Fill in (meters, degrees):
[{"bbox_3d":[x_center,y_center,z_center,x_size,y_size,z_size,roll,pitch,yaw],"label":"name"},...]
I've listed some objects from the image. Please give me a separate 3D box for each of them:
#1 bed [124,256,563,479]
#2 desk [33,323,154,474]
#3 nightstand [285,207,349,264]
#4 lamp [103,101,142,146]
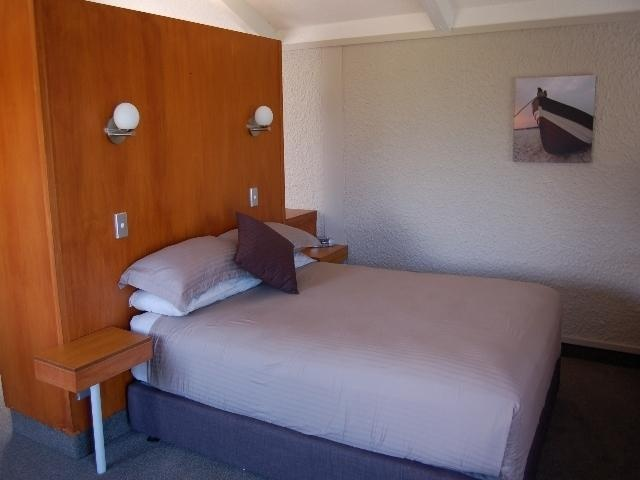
[{"bbox_3d":[0.203,0.637,2.639,1.355,0.335,1.364,7,14,29],"label":"bed"},{"bbox_3d":[-1.354,0.937,2.886,0.446,0.931,0.648,7,16,24],"label":"desk"},{"bbox_3d":[-0.048,-0.038,4.866,0.556,0.378,0.595,7,20,23],"label":"nightstand"},{"bbox_3d":[-1.174,-0.707,3.001,0.158,0.240,0.248,10,18,33],"label":"lamp"}]
